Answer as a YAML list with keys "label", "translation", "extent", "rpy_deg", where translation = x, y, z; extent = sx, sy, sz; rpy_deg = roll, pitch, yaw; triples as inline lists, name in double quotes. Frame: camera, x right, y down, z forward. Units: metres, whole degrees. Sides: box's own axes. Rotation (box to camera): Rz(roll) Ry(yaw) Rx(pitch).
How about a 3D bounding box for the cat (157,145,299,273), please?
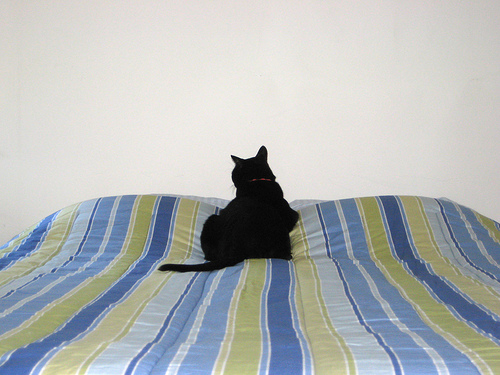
- label: "cat"
  translation: [0.008, 0.151, 2.770]
  extent: [0.511, 0.637, 0.355]
  rpy_deg: [4, -48, 14]
